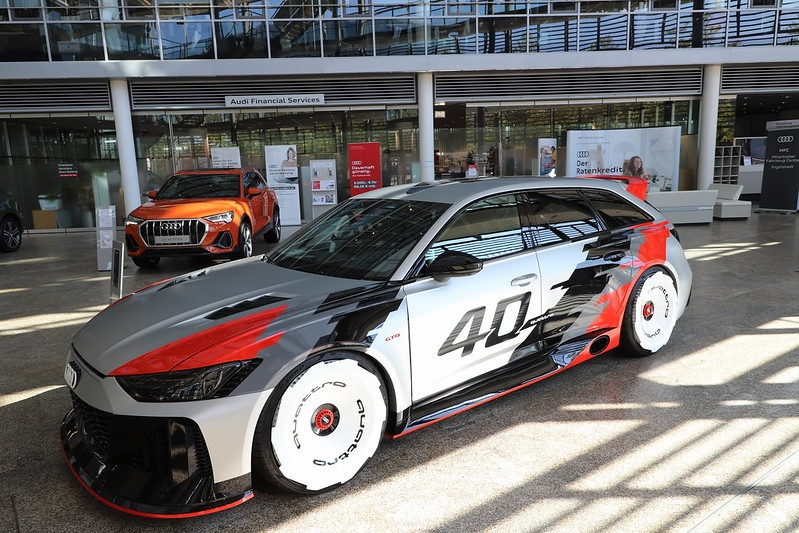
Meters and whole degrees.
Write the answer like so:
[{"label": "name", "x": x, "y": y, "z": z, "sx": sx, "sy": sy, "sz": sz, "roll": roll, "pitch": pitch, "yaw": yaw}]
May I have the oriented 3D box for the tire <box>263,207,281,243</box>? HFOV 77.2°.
[{"label": "tire", "x": -3.567, "y": -1.167, "z": 13.960, "sx": 0.424, "sy": 1.031, "sz": 1.104, "roll": -3, "pitch": 8, "yaw": -3}]
